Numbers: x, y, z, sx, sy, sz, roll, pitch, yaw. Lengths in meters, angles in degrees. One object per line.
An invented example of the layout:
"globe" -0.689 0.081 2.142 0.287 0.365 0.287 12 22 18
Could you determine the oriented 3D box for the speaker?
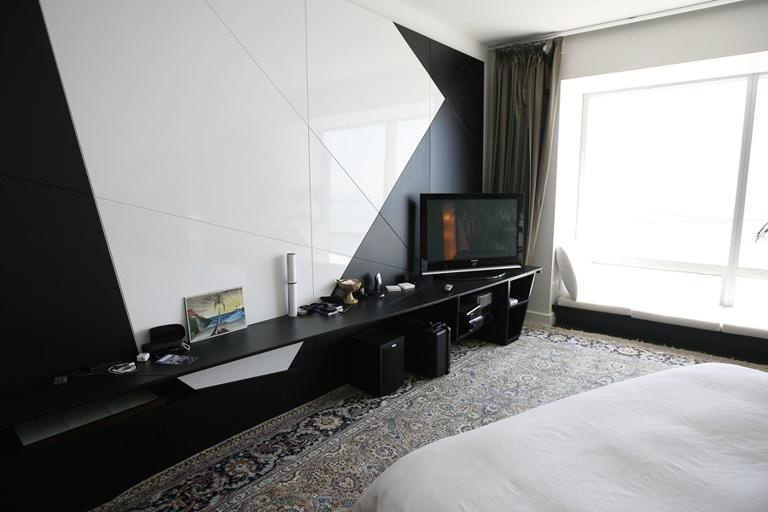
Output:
"speaker" -0.059 0.773 3.962 0.456 0.502 0.453 15 23 41
